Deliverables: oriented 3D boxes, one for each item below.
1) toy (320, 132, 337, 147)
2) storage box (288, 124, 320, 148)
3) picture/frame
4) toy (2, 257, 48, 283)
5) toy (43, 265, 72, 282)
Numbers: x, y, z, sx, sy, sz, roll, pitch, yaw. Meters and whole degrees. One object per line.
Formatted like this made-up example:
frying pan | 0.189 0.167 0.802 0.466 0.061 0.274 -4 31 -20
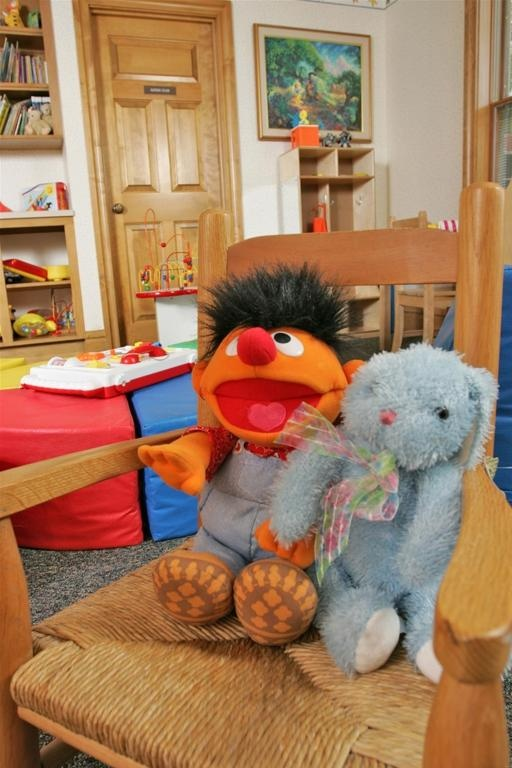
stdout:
toy | 0.415 -1.400 3.539 0.081 0.102 0.051 2 -25 3
storage box | 0.254 -1.334 3.439 0.177 0.162 0.170 -2 16 -9
picture/frame | 0.291 -1.709 3.472 0.789 0.548 0.033 -5 10 -30
toy | -1.127 -0.543 2.986 0.140 0.049 0.144 6 7 24
toy | -1.002 -0.553 3.106 0.102 0.077 0.106 5 8 23
